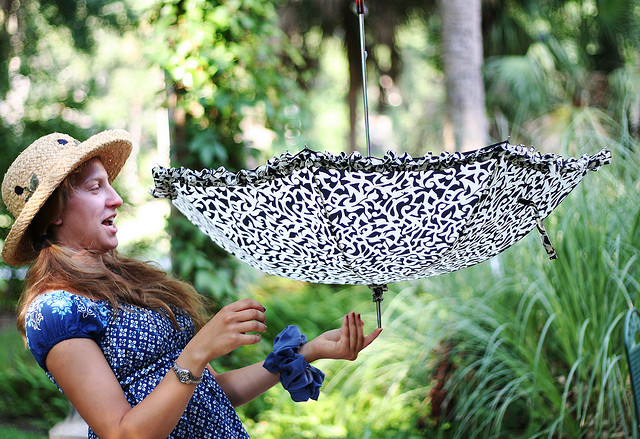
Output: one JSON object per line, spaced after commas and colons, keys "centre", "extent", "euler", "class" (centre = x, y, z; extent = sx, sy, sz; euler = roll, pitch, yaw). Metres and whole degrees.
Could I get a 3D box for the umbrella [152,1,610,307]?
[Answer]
{"centre": [0.189, -0.018, 5.177], "extent": [1.761, 1.396, 1.786], "euler": [-3, -20, -3], "class": "umbrella"}
